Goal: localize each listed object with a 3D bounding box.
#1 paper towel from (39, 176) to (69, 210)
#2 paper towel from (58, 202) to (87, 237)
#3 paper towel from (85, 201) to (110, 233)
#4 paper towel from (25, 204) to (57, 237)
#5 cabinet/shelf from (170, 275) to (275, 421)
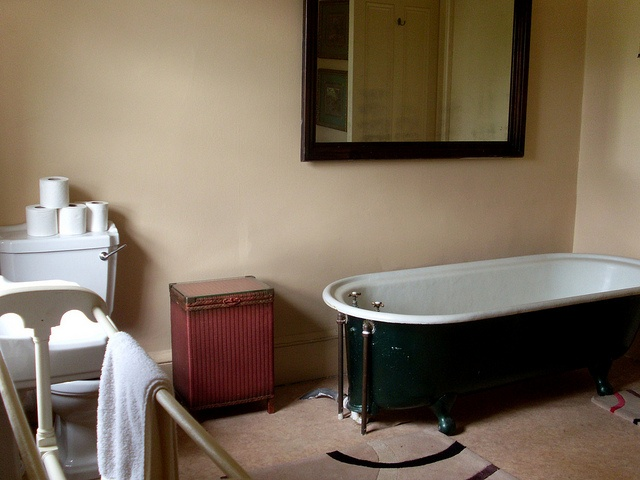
[{"bbox_3d":[-1.281,-0.228,2.673,0.116,0.138,0.122,5,13,-8],"label":"paper towel"},{"bbox_3d":[-1.192,-0.099,2.678,0.117,0.135,0.118,0,13,-22],"label":"paper towel"},{"bbox_3d":[-1.106,-0.118,2.757,0.109,0.136,0.111,-2,12,-27],"label":"paper towel"},{"bbox_3d":[-1.292,-0.100,2.611,0.135,0.138,0.131,2,7,3],"label":"paper towel"},{"bbox_3d":[-0.502,0.558,3.061,0.483,0.686,0.393,-3,11,-15],"label":"cabinet/shelf"}]
